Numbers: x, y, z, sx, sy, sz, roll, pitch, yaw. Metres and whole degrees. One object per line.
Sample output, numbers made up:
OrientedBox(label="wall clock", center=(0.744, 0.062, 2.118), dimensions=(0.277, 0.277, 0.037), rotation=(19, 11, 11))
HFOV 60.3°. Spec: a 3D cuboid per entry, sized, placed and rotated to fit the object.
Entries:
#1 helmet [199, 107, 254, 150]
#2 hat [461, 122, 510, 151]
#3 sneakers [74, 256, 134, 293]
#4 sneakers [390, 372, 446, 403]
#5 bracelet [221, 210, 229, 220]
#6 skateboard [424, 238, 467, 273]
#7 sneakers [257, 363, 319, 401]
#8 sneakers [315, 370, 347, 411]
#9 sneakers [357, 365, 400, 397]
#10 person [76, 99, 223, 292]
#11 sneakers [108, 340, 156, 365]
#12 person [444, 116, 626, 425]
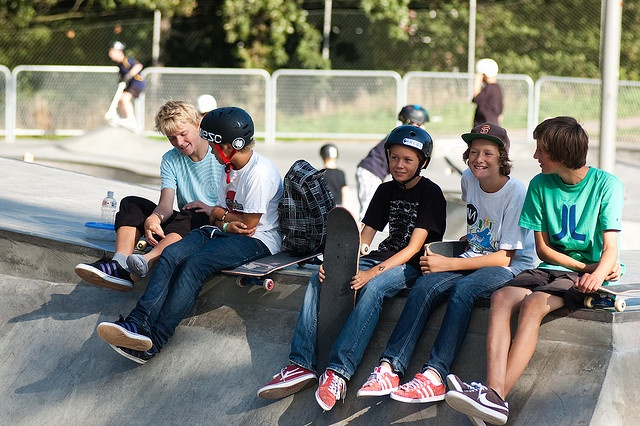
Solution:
OrientedBox(label="helmet", center=(-0.800, -0.730, 4.769), dimensions=(0.469, 0.408, 0.369), rotation=(-2, 24, -13))
OrientedBox(label="hat", center=(1.270, -0.592, 4.215), dimensions=(0.307, 0.232, 0.448), rotation=(13, -4, 20))
OrientedBox(label="sneakers", center=(-1.755, 0.517, 4.652), dimensions=(0.521, 0.243, 0.205), rotation=(29, -35, -28))
OrientedBox(label="sneakers", center=(0.686, 1.212, 3.766), dimensions=(0.413, 0.203, 0.156), rotation=(8, -10, -23))
OrientedBox(label="bracelet", center=(-0.825, 0.027, 4.763), dimensions=(0.028, 0.111, 0.019), rotation=(13, -5, 13))
OrientedBox(label="skateboard", center=(1.017, 0.336, 4.263), dimensions=(0.252, 0.062, 0.251), rotation=(7, -28, -25))
OrientedBox(label="sneakers", center=(-0.224, 1.242, 4.116), dimensions=(0.509, 0.212, 0.199), rotation=(-20, -36, -5))
OrientedBox(label="sneakers", center=(0.079, 1.270, 3.976), dimensions=(0.170, 0.169, 0.476), rotation=(37, 12, -5))
OrientedBox(label="sneakers", center=(0.407, 1.189, 3.834), dimensions=(0.393, 0.168, 0.137), rotation=(5, -10, -39))
OrientedBox(label="person", center=(-1.375, -0.177, 4.956), dimensions=(0.756, 1.649, 1.578), rotation=(5, 4, 19))
OrientedBox(label="sneakers", center=(-1.491, 1.127, 4.421), dimensions=(0.303, 0.131, 0.107), rotation=(28, 42, -18))
OrientedBox(label="person", center=(1.618, 0.254, 3.783), dimensions=(0.665, 1.809, 1.033), rotation=(7, 12, 37))
